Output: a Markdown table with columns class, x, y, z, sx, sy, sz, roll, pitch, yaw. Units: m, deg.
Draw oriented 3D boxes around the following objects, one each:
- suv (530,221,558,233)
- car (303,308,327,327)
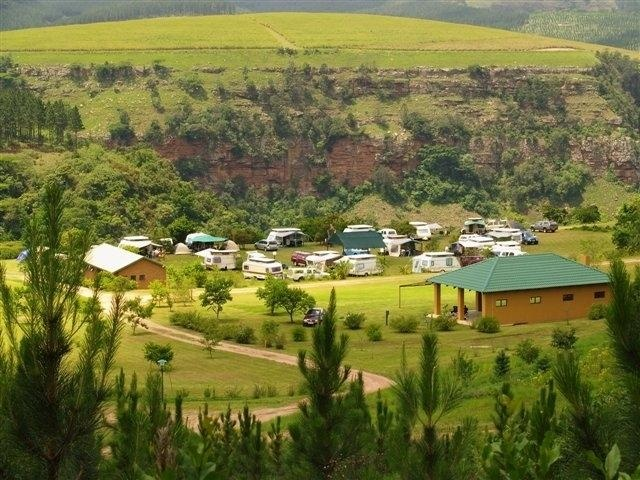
| class | x | y | z | sx | sy | sz | roll | pitch | yaw |
| --- | --- | --- | --- | --- | --- | --- | --- | --- | --- |
| suv | 29.353 | -1.945 | 148.115 | 1.476 | 1.308 | 2.653 | -3 | 10 | -41 |
| car | -0.711 | 7.503 | 110.260 | 2.112 | 1.753 | 1.612 | 2 | 9 | 19 |
